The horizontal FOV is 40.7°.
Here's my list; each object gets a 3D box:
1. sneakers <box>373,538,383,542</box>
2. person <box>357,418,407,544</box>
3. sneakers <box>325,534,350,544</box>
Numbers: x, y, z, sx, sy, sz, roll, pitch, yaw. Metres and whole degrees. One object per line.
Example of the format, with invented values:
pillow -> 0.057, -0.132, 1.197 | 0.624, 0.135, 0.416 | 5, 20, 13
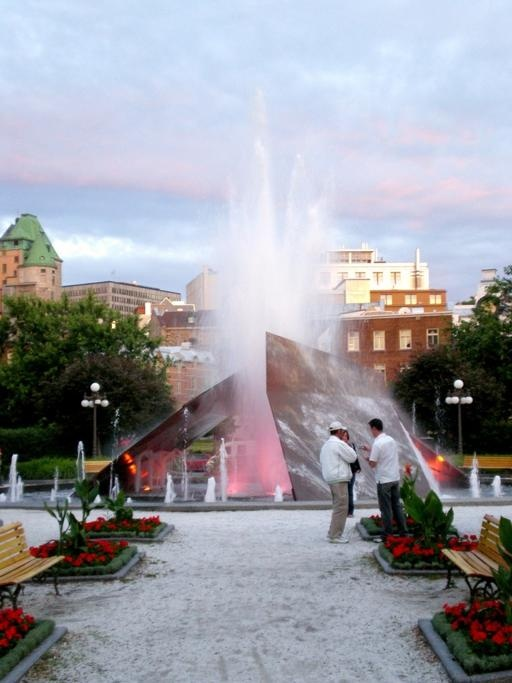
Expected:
sneakers -> 1.529, 2.475, 8.618 | 0.075, 0.040, 0.110 | -2, -11, 0
person -> 1.543, 1.661, 8.327 | 0.456, 1.434, 0.359 | -2, -3, -9
sneakers -> 1.042, 2.518, 8.835 | 0.101, 0.112, 0.281 | 5, -15, -28
